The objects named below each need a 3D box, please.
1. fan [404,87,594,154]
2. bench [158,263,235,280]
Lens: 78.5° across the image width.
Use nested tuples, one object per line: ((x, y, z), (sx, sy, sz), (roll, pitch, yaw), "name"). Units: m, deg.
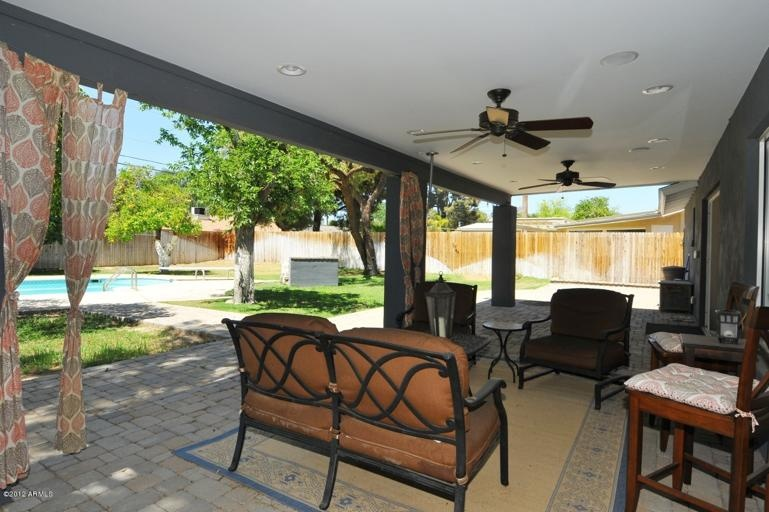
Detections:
((1.343, -1.353, 4.959), (1.085, 0.293, 1.174), (-1, -3, 44), "fan")
((-7.463, 0.546, 18.746), (2.322, 0.489, 8.291), (-1, -1, -21), "bench")
